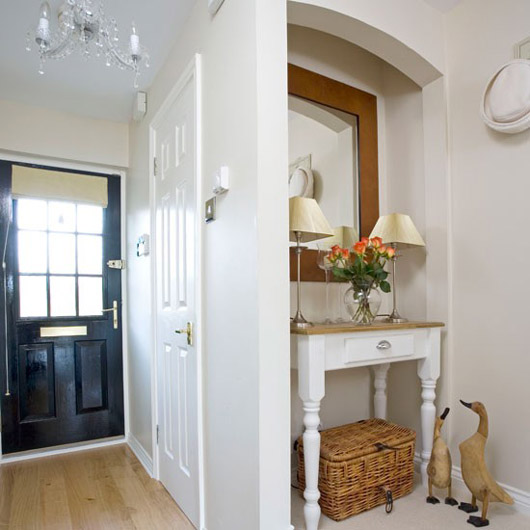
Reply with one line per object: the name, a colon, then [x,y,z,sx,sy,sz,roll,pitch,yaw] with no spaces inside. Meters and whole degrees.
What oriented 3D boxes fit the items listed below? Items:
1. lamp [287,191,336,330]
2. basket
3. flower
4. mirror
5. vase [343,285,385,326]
lamp: [0.175,-0.009,2.500,0.297,0.684,0.339,1,-4,-1]
basket: [0.417,0.926,2.518,0.473,0.372,0.369,-1,-2,-35]
flower: [0.501,0.099,2.560,0.358,0.480,0.373,-3,-8,22]
mirror: [0.377,-0.509,2.809,0.058,1.712,1.060,-4,-6,39]
vase: [0.507,0.208,2.536,0.153,0.231,0.170,9,-14,-21]
